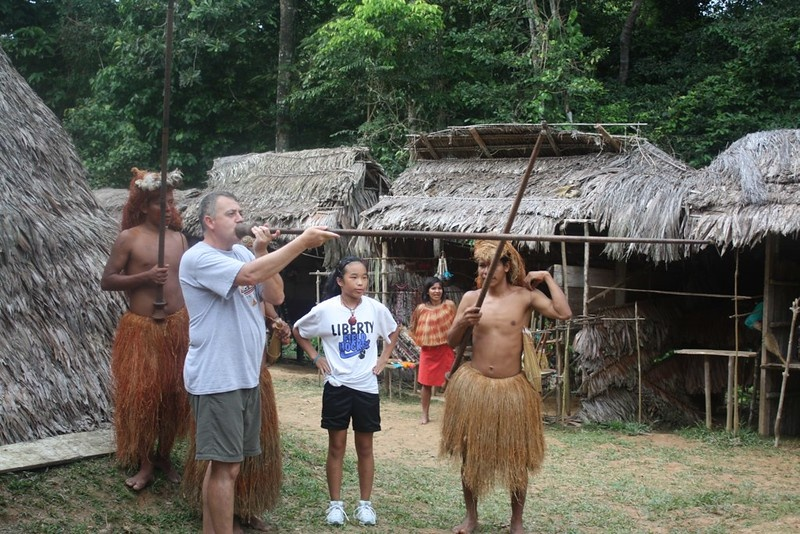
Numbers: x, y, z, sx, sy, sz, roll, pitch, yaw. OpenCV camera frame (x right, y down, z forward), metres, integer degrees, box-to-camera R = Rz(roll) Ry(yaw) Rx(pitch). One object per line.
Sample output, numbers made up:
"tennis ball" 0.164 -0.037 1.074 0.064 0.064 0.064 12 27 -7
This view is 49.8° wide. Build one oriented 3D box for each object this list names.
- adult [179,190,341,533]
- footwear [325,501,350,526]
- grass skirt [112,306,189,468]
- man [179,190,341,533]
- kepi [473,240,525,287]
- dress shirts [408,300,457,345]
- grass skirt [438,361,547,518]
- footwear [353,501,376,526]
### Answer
"adult" -1.516 0.895 7.826 0.944 3.091 1.072 -6 16 -41
"footwear" -0.627 2.377 8.296 0.156 0.108 0.255 1 -1 -6
"grass skirt" -2.429 1.158 8.369 0.698 1.495 0.462 1 13 -16
"man" -1.509 0.894 7.832 0.963 3.091 1.072 -6 16 -41
"kepi" 0.980 -0.048 8.557 0.517 0.441 0.421 0 -5 -35
"dress shirts" 0.501 0.755 11.941 0.765 0.604 0.447 -3 -1 7
"grass skirt" 0.924 1.632 8.714 1.607 1.619 1.048 1 1 5
"footwear" -0.338 2.365 8.430 0.220 0.207 0.266 4 11 -2
